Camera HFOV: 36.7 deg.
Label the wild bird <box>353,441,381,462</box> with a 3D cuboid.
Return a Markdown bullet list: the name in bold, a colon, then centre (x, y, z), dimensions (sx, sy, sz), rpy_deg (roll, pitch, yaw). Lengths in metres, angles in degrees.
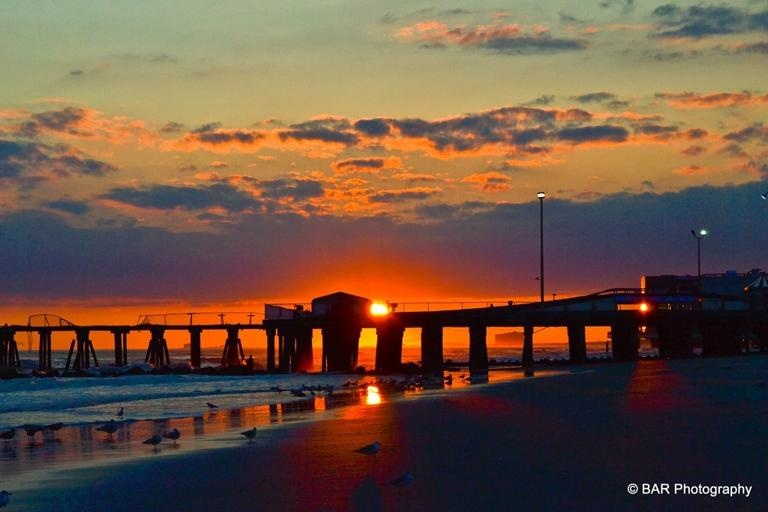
- **wild bird**: centre (-0.615, 7.147, 42.404), dimensions (1.016, 0.638, 1.772), rpy_deg (-2, -5, -2)

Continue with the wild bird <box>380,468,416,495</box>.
- **wild bird**: centre (0.427, 7.716, 39.291), dimensions (1.182, 0.604, 0.536), rpy_deg (1, 0, 27)

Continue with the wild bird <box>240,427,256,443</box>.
- **wild bird**: centre (-5.529, 7.229, 46.514), dimensions (0.855, 0.493, 0.426), rpy_deg (0, -1, 11)

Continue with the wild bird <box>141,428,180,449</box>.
- **wild bird**: centre (-8.851, 7.384, 46.653), dimensions (1.847, 0.927, 0.635), rpy_deg (11, -16, -31)
